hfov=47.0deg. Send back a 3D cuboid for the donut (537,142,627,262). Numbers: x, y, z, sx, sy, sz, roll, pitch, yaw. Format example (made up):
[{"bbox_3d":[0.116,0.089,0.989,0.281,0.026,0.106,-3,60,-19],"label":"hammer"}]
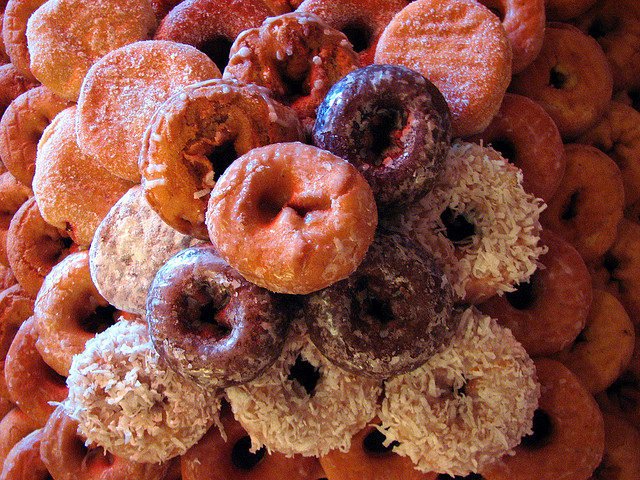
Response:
[{"bbox_3d":[0.771,-0.097,2.145,0.309,0.114,0.319,0,88,-1],"label":"donut"}]

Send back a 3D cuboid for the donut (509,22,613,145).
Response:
[{"bbox_3d":[0.697,-0.453,2.118,0.289,0.116,0.310,-6,85,-8],"label":"donut"}]

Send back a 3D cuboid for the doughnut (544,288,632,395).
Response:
[{"bbox_3d":[0.790,0.285,2.090,0.248,0.083,0.259,-1,79,2],"label":"doughnut"}]

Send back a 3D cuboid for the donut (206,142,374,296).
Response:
[{"bbox_3d":[-0.061,-0.052,1.640,0.359,0.073,0.334,25,84,5],"label":"donut"}]

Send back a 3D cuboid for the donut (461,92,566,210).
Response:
[{"bbox_3d":[0.573,-0.224,2.055,0.295,0.111,0.305,-6,86,3],"label":"donut"}]

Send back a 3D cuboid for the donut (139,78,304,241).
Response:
[{"bbox_3d":[-0.265,-0.155,1.826,0.364,0.145,0.378,-17,93,-14],"label":"donut"}]

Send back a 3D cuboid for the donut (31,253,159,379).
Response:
[{"bbox_3d":[-0.698,0.249,2.271,0.368,0.137,0.380,-13,87,5],"label":"donut"}]
